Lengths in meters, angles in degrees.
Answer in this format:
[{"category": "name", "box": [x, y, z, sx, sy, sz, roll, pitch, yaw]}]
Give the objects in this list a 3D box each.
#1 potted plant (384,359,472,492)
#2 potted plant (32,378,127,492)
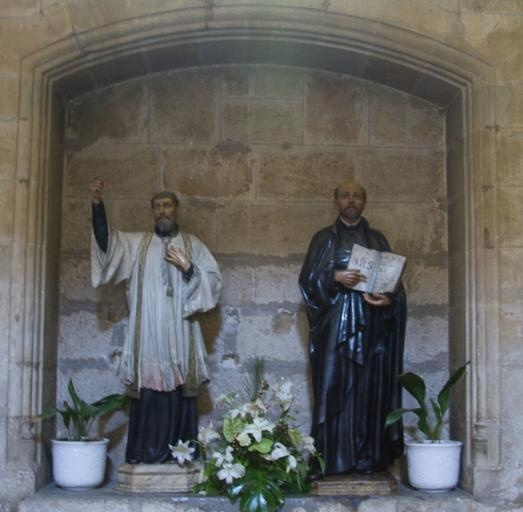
[{"category": "potted plant", "box": [1.023, 0.974, 7.857, 0.530, 0.825, 0.386, -14, 1, -38]}, {"category": "potted plant", "box": [-1.015, 1.072, 7.845, 0.572, 0.622, 0.600, 1, -5, -1]}]
